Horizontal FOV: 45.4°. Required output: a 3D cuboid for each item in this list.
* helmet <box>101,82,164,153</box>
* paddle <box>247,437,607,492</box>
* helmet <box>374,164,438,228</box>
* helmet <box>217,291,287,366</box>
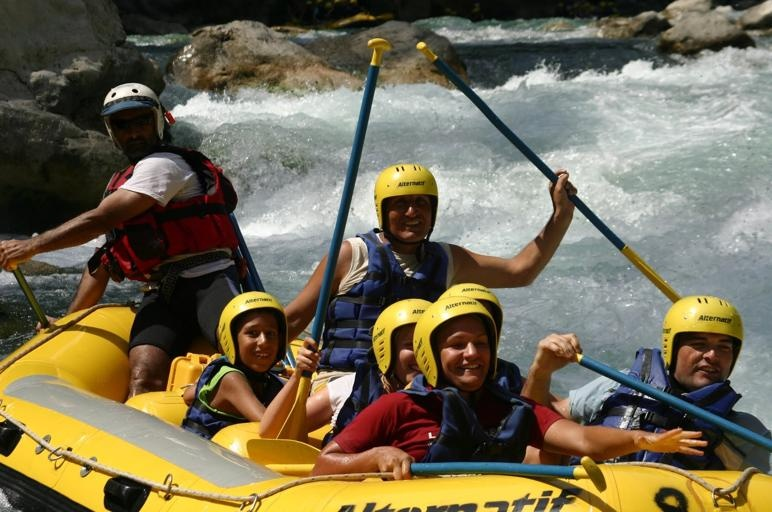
[{"bbox_3d":[-2.117,-1.203,7.894,0.471,0.591,0.501,-8,13,-10],"label":"helmet"},{"bbox_3d":[0.327,1.390,6.084,2.076,0.173,0.331,-1,41,7],"label":"paddle"},{"bbox_3d":[0.120,-0.525,7.544,0.435,0.533,0.449,0,47,-8],"label":"helmet"},{"bbox_3d":[-1.109,0.551,7.112,0.482,0.569,0.610,-2,7,-19],"label":"helmet"}]
